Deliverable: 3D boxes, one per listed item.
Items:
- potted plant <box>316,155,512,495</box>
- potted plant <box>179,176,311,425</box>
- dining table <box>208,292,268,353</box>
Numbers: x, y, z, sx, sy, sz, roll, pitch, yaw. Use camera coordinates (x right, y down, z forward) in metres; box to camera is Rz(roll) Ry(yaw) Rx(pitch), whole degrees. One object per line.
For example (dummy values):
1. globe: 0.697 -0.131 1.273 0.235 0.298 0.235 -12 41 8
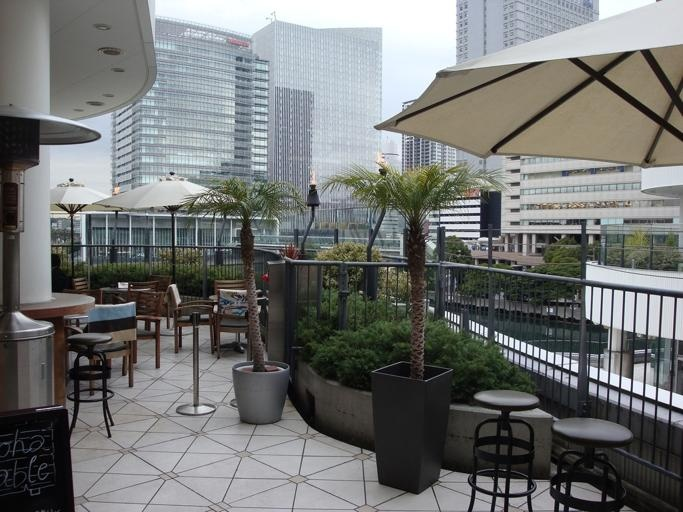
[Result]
1. potted plant: 0.683 0.102 5.506 1.583 1.932 0.640 1 5 16
2. potted plant: -1.173 0.528 7.133 1.682 2.977 1.567 -1 -3 -13
3. dining table: -1.776 1.027 9.908 0.731 0.966 0.739 5 12 20
